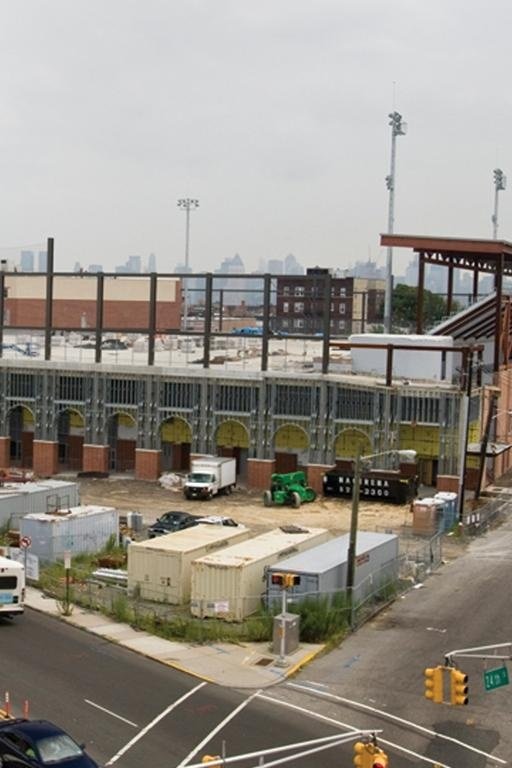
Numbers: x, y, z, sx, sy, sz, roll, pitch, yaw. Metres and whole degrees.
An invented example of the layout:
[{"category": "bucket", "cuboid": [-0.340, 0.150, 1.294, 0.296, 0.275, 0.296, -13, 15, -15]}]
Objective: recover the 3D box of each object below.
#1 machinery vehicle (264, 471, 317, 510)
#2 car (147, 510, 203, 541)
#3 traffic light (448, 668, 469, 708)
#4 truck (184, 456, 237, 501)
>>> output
[{"category": "machinery vehicle", "cuboid": [1.713, 5.549, 76.154, 2.306, 1.820, 3.043, 0, -3, 14]}, {"category": "car", "cuboid": [-3.630, 6.067, 62.269, 1.887, 1.028, 2.845, 0, -3, 9]}, {"category": "traffic light", "cuboid": [5.301, 8.025, 38.133, 0.398, 0.935, 0.795, 0, -2, 6]}, {"category": "truck", "cuboid": [-2.516, 5.078, 77.807, 1.513, 2.245, 3.709, 0, -3, 25]}]
